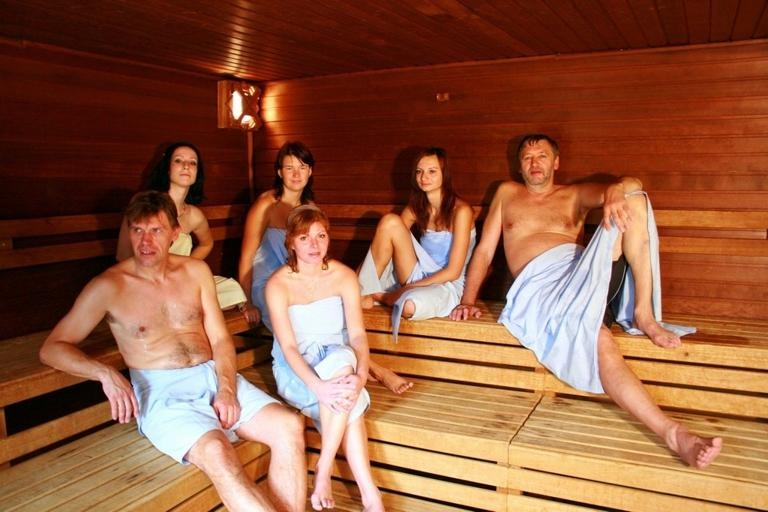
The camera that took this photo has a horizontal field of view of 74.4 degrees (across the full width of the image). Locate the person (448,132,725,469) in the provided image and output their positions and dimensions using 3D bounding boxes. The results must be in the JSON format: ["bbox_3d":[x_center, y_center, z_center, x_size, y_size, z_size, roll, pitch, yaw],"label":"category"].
[{"bbox_3d":[1.200,0.215,2.995,1.370,1.026,1.885,-17,32,-5],"label":"person"}]

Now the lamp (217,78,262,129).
[{"bbox_3d":[-1.289,-1.320,4.450,0.446,0.381,0.114,-8,11,-42],"label":"lamp"}]
